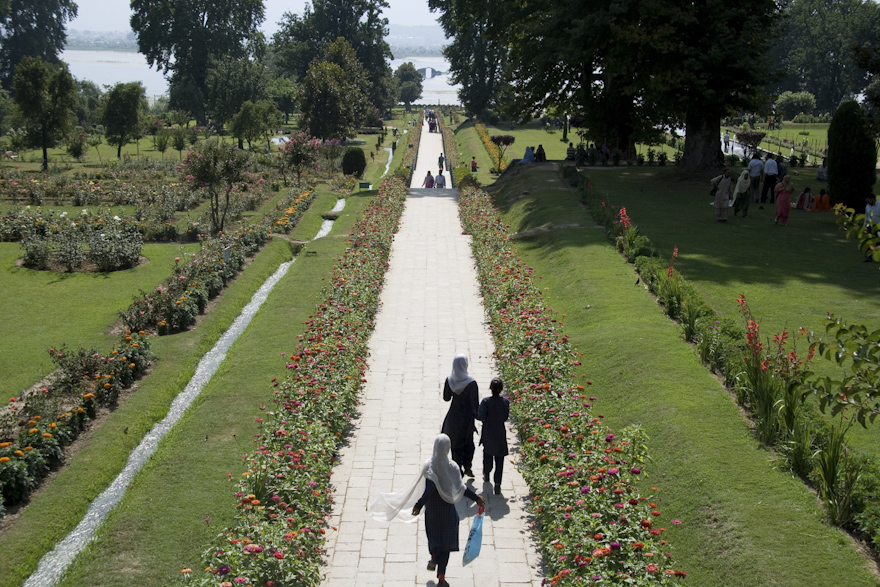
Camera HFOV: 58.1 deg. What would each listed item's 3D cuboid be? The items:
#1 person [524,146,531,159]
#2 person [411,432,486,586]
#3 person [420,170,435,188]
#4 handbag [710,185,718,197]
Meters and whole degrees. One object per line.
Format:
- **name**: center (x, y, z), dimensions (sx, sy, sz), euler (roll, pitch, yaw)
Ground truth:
- **person**: center (5.028, -7.924, 45.025), dimensions (0.349, 0.677, 0.848), euler (2, 15, 4)
- **person**: center (0.054, 3.704, 13.700), dimensions (1.049, 2.702, 0.454), euler (1, 15, 2)
- **person**: center (-0.564, -6.294, 43.892), dimensions (0.609, 0.801, 1.549), euler (1, 15, 1)
- **handbag**: center (9.973, -3.729, 28.847), dimensions (0.136, 0.398, 0.985), euler (4, 16, 13)
